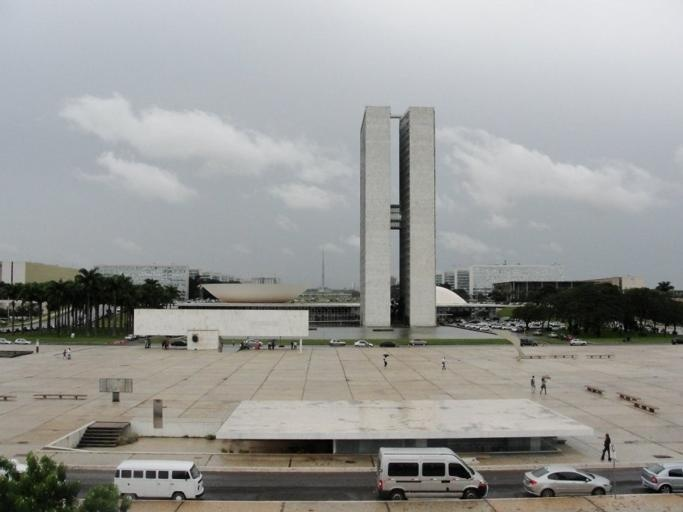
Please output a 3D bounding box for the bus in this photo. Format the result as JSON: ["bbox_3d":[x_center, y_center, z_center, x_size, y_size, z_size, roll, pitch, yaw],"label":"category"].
[{"bbox_3d":[-9.131,11.196,37.263,4.033,1.611,0.505,1,1,-3],"label":"bus"}]

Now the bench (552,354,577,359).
[{"bbox_3d":[21.470,9.672,72.213,2.003,0.105,3.183,2,1,19],"label":"bench"}]

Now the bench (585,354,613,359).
[{"bbox_3d":[24.855,9.670,72.307,2.178,0.061,3.880,2,1,26],"label":"bench"}]

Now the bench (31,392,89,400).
[{"bbox_3d":[-19.289,9.577,51.177,3.719,0.359,1.277,1,1,4],"label":"bench"}]

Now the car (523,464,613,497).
[{"bbox_3d":[11.275,11.522,38.047,3.963,0.977,1.601,-1,2,-2],"label":"car"}]

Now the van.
[{"bbox_3d":[4.535,11.016,38.286,5.514,1.796,2.323,-1,0,-2],"label":"van"}]
